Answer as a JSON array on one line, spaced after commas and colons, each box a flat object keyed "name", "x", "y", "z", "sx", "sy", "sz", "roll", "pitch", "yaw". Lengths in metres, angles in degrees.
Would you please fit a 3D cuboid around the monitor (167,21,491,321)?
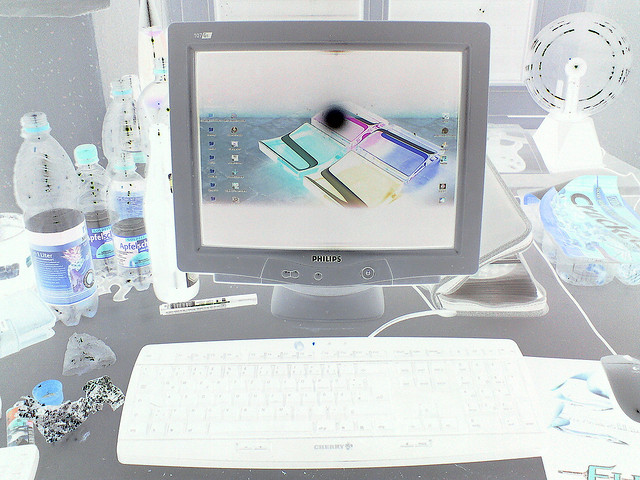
[{"name": "monitor", "x": 0.020, "y": -0.153, "z": 0.962, "sx": 0.558, "sy": 0.585, "sz": 0.219, "roll": 0, "pitch": 20, "yaw": 2}]

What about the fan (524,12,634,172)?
[{"name": "fan", "x": 0.663, "y": -0.383, "z": 1.308, "sx": 0.258, "sy": 0.383, "sz": 0.117, "roll": 14, "pitch": 35, "yaw": 19}]

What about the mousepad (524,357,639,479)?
[{"name": "mousepad", "x": 0.461, "y": 0.310, "z": 0.871, "sx": 0.161, "sy": 0.044, "sz": 0.232, "roll": 6, "pitch": 35, "yaw": 7}]

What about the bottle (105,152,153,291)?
[{"name": "bottle", "x": -0.428, "y": -0.034, "z": 1.141, "sx": 0.088, "sy": 0.299, "sz": 0.090, "roll": 2, "pitch": 19, "yaw": -1}]

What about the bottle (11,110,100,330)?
[{"name": "bottle", "x": -0.592, "y": -0.076, "z": 1.085, "sx": 0.146, "sy": 0.387, "sz": 0.372, "roll": -16, "pitch": 37, "yaw": -24}]

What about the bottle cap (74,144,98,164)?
[{"name": "bottle cap", "x": -0.502, "y": -0.186, "z": 1.066, "sx": 0.042, "sy": 0.027, "sz": 0.044, "roll": 1, "pitch": 45, "yaw": -7}]

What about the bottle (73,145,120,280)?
[{"name": "bottle", "x": -0.518, "y": -0.057, "z": 1.155, "sx": 0.085, "sy": 0.326, "sz": 0.086, "roll": 7, "pitch": 26, "yaw": -3}]
